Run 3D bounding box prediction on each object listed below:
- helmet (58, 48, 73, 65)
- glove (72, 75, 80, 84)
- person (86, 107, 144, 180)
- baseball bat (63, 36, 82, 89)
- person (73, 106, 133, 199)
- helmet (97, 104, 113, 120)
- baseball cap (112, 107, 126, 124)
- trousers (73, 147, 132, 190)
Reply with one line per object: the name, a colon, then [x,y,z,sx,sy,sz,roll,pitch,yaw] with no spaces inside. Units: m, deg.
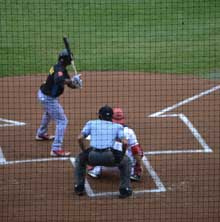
helmet: [-0.842,-1.000,8.155,0.193,0.264,0.259,1,41,9]
glove: [-0.607,-0.562,7.863,0.148,0.154,0.092,-4,29,3]
person: [0.039,0.553,7.744,1.007,1.434,0.989,6,12,20]
baseball bat: [-0.658,-0.856,7.683,0.138,1.008,0.109,4,-31,-45]
person: [-0.103,0.723,7.564,0.987,1.497,0.833,4,2,6]
helmet: [-0.069,0.025,7.443,0.176,0.209,0.233,3,32,-7]
baseball cap: [0.155,0.075,8.171,0.198,0.180,0.337,1,17,0]
trousers: [-0.135,0.984,7.355,1.026,0.775,0.497,2,-3,11]
